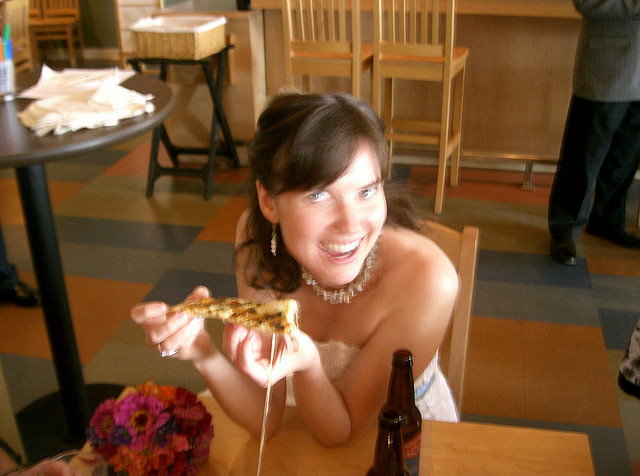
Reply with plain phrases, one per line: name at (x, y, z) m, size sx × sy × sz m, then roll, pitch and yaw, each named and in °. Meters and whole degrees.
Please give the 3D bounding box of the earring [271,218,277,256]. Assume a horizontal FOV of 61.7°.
earring at (-0.134, 0.006, 1.557) m, size 0.017 × 0.091 × 0.024 m, roll -1°, pitch 22°, yaw -5°

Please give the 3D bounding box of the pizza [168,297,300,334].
pizza at (-0.206, 0.164, 1.224) m, size 0.330 × 0.111 × 0.081 m, roll 0°, pitch -21°, yaw 7°
